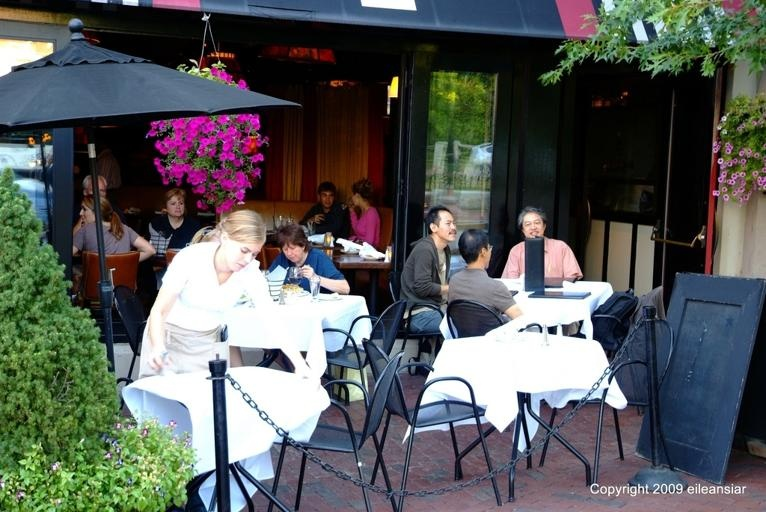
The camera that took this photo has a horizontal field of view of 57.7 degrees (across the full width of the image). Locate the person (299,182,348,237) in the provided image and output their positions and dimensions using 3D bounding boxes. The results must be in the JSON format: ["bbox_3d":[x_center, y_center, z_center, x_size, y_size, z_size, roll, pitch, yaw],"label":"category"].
[{"bbox_3d":[-0.923,-0.752,11.207,0.639,0.815,0.937,0,0,-3],"label":"person"}]

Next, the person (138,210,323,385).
[{"bbox_3d":[-1.250,0.267,5.006,0.999,1.209,1.137,-4,9,-22],"label":"person"}]

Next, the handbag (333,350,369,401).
[{"bbox_3d":[-0.295,1.111,6.474,0.337,0.334,0.614,21,-12,1],"label":"handbag"}]

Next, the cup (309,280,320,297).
[{"bbox_3d":[-0.642,0.308,6.732,0.135,0.205,0.133,-1,-3,0],"label":"cup"}]

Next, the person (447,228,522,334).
[{"bbox_3d":[0.976,0.252,6.824,0.990,0.860,0.559,6,11,34],"label":"person"}]

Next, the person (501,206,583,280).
[{"bbox_3d":[1.819,-0.154,8.121,1.128,1.073,0.655,-3,-5,0],"label":"person"}]

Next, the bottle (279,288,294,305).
[{"bbox_3d":[-0.914,0.382,6.616,0.129,0.145,0.128,3,-19,-6],"label":"bottle"}]
